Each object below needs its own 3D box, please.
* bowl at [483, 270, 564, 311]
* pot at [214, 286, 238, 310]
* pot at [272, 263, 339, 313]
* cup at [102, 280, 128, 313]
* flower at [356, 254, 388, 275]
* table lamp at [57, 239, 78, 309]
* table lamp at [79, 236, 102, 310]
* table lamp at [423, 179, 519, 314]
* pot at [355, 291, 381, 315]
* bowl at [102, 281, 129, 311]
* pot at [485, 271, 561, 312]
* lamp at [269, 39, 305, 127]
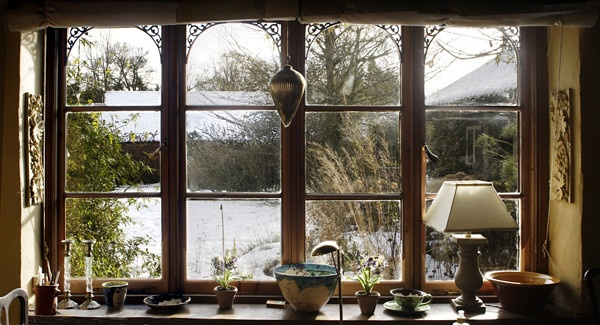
[{"bbox_3d":[2.020,1.154,5.571,0.435,0.174,0.426,0,-5,0],"label":"bowl"},{"bbox_3d":[-0.694,1.221,5.630,0.215,0.160,0.193,1,-8,-5],"label":"pot"},{"bbox_3d":[0.060,1.102,5.556,0.449,0.277,0.440,0,-9,0],"label":"pot"},{"bbox_3d":[-1.676,1.203,5.677,0.184,0.169,0.195,-2,10,0],"label":"cup"},{"bbox_3d":[0.685,0.944,5.799,0.208,0.123,0.201,2,1,-16],"label":"flower"},{"bbox_3d":[-2.165,1.016,5.699,0.175,0.618,0.219,-1,-2,-29],"label":"table lamp"},{"bbox_3d":[-1.952,1.021,5.724,0.180,0.624,0.224,-2,-2,-15],"label":"table lamp"},{"bbox_3d":[1.532,0.743,5.581,0.786,1.168,0.332,-2,-2,-1],"label":"table lamp"},{"bbox_3d":[0.617,1.276,5.630,0.242,0.173,0.218,3,-9,-6],"label":"pot"},{"bbox_3d":[-1.718,1.215,5.703,0.248,0.226,0.257,3,2,0],"label":"bowl"},{"bbox_3d":[2.010,1.106,5.556,0.438,0.175,0.429,0,-6,0],"label":"pot"},{"bbox_3d":[-0.111,-0.583,5.342,0.332,0.533,0.352,0,-2,33],"label":"lamp"}]
